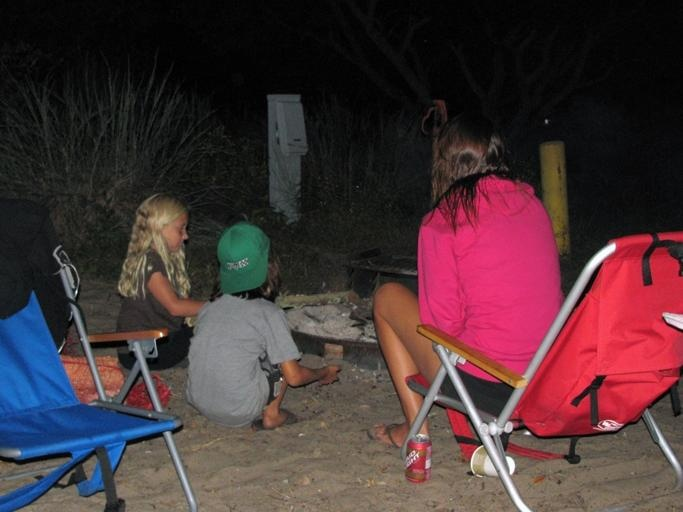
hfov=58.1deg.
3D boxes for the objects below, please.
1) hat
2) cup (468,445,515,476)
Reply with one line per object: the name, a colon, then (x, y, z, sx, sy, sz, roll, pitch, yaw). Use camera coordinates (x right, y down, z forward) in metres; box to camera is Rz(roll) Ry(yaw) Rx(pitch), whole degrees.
hat: (-0.602, 0.011, 3.758, 0.296, 0.428, 0.186, -6, -26, 9)
cup: (0.820, 1.137, 3.337, 0.151, 0.199, 0.195, -12, -13, 16)
